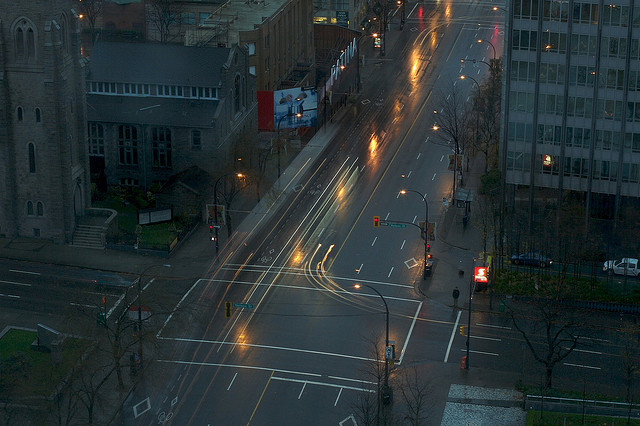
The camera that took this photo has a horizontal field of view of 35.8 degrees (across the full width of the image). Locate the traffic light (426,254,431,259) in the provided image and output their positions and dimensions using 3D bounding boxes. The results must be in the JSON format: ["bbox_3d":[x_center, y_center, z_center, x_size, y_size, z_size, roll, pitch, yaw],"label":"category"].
[{"bbox_3d":[15.524,6.360,141.782,0.355,0.767,1.847,6,9,20],"label":"traffic light"}]

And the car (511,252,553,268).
[{"bbox_3d":[30.609,6.916,143.496,5.320,2.014,0.847,5,8,4],"label":"car"}]

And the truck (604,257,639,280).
[{"bbox_3d":[43.090,8.043,141.468,4.760,1.989,2.485,2,30,9],"label":"truck"}]

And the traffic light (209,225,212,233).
[{"bbox_3d":[-16.476,2.596,149.727,0.248,1.195,0.715,-4,4,-38],"label":"traffic light"}]

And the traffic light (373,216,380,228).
[{"bbox_3d":[8.150,1.427,141.525,0.750,1.302,0.851,2,8,-10],"label":"traffic light"}]
